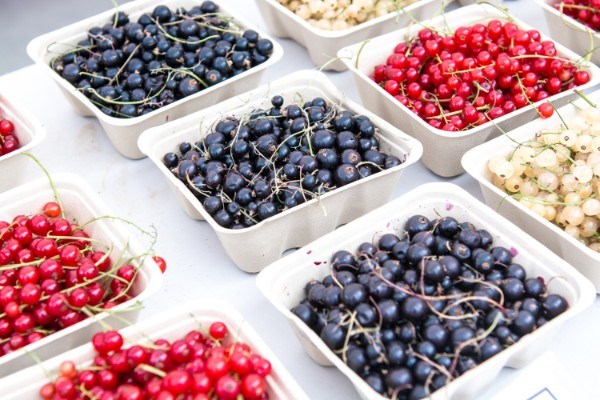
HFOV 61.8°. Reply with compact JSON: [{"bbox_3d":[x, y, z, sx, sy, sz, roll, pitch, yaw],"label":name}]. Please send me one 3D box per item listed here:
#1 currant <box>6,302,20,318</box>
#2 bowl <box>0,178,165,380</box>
[{"bbox_3d":[-0.819,0.312,1.431,0.034,0.030,0.028,-10,36,11],"label":"currant"},{"bbox_3d":[-0.684,0.158,1.583,0.545,0.184,0.595,4,52,-5],"label":"bowl"}]
